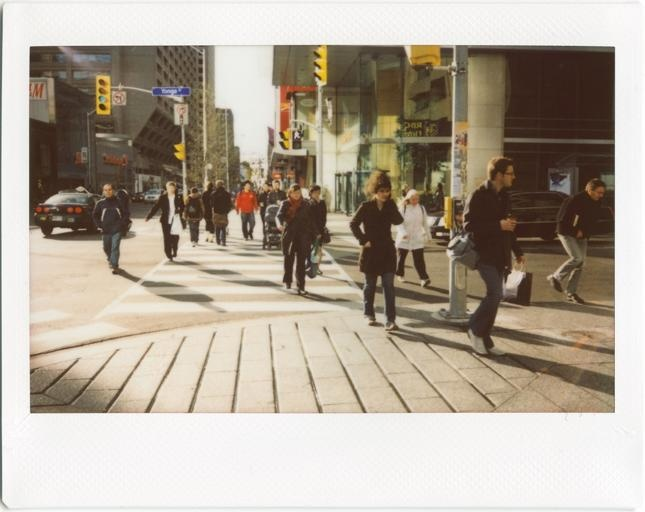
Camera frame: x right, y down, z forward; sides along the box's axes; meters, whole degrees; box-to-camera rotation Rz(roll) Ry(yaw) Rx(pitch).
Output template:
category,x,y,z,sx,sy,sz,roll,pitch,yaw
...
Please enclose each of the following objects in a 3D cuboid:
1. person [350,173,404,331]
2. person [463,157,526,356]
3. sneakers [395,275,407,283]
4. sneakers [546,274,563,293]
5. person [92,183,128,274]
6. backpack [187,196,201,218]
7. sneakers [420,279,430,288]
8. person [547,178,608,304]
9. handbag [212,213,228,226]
category,x,y,z,sx,sy,sz,roll,pitch,yaw
person,0.779,-0.114,9.182,0.768,2.241,1.080,2,8,6
person,2.105,-0.006,7.910,0.620,2.454,0.427,2,7,9
sneakers,1.633,0.478,12.957,0.151,0.248,0.549,-1,-3,-7
sneakers,4.329,0.515,11.592,0.108,0.316,0.123,-35,-11,29
person,-4.661,-0.626,13.694,0.592,1.926,0.931,1,8,-4
backpack,-3.703,-1.402,17.786,0.482,0.891,0.409,0,-1,-16
sneakers,2.033,0.512,12.236,0.170,0.144,0.353,3,10,6
person,4.440,-0.299,10.865,0.769,2.081,0.659,5,8,26
handbag,-3.129,-1.126,19.109,0.331,0.411,0.373,3,6,21
